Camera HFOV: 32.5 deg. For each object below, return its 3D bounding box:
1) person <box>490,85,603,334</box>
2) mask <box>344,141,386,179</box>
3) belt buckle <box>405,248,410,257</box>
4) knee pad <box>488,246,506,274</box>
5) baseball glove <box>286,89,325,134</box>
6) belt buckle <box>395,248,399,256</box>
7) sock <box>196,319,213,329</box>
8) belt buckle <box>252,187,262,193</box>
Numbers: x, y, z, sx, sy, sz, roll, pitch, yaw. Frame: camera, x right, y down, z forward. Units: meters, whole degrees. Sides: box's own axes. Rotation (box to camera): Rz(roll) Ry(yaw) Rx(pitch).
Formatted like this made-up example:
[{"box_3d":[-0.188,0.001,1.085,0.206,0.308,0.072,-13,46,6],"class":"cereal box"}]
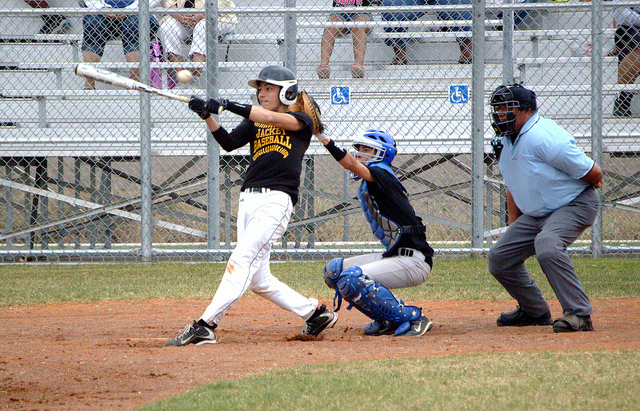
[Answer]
[{"box_3d":[2.558,0.014,12.558,1.233,2.812,0.486,-1,2,12],"class":"person"},{"box_3d":[0.530,-0.609,12.636,0.410,0.284,0.216,0,3,31],"class":"mask"},{"box_3d":[1.003,0.527,12.547,0.049,0.078,0.022,-1,2,14],"class":"belt buckle"},{"box_3d":[2.039,0.620,12.663,0.210,0.311,0.058,0,3,24],"class":"knee pad"},{"box_3d":[-0.103,-1.103,12.516,0.377,0.482,0.184,-12,9,44],"class":"baseball glove"},{"box_3d":[0.889,0.524,12.587,0.069,0.067,0.049,6,-6,0],"class":"belt buckle"},{"box_3d":[-1.266,1.300,12.153,0.130,0.064,0.096,31,0,9],"class":"sock"},{"box_3d":[-0.691,-0.182,12.233,0.102,0.052,0.067,1,-5,3],"class":"belt buckle"}]
